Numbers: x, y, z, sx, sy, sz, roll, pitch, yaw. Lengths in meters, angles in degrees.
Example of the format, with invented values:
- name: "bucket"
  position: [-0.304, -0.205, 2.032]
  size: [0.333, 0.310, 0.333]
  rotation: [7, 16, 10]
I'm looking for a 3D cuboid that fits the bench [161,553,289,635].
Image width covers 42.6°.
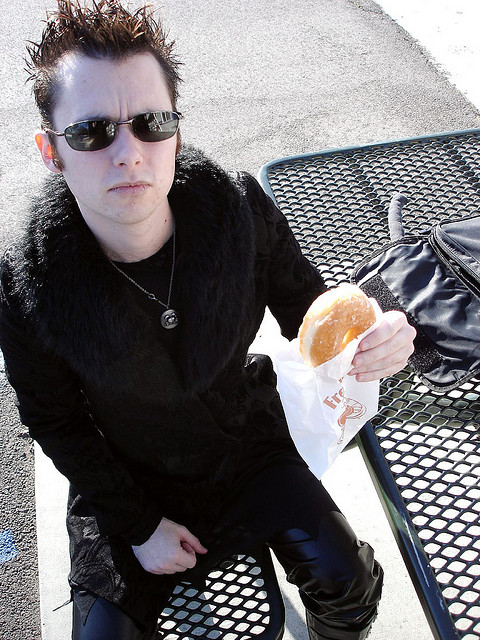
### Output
- name: "bench"
  position: [-0.042, 0.674, 1.520]
  size: [0.371, 0.075, 0.284]
  rotation: [-7, 45, 6]
